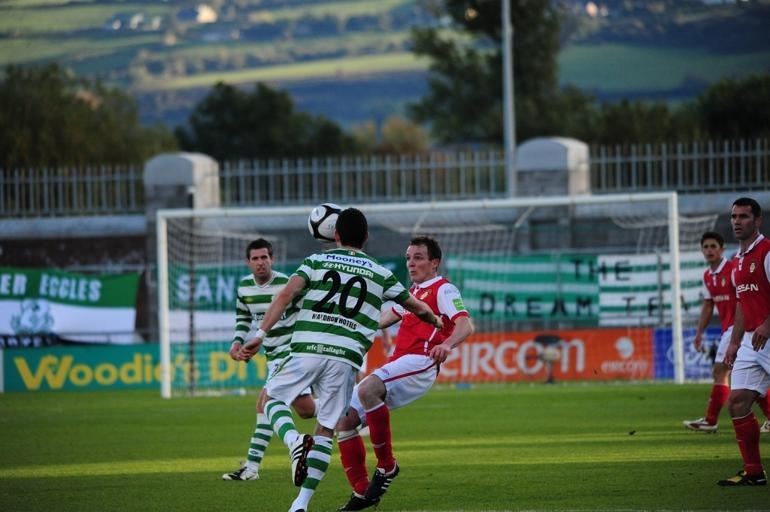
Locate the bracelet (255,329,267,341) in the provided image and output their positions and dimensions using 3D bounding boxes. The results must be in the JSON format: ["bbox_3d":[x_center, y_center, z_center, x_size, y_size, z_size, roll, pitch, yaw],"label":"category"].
[{"bbox_3d":[-2.290,1.439,31.718,0.178,0.180,0.184,-8,-12,20],"label":"bracelet"}]

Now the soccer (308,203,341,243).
[{"bbox_3d":[-1.160,-0.641,32.306,0.635,0.659,0.651,12,-37,-9],"label":"soccer"}]
